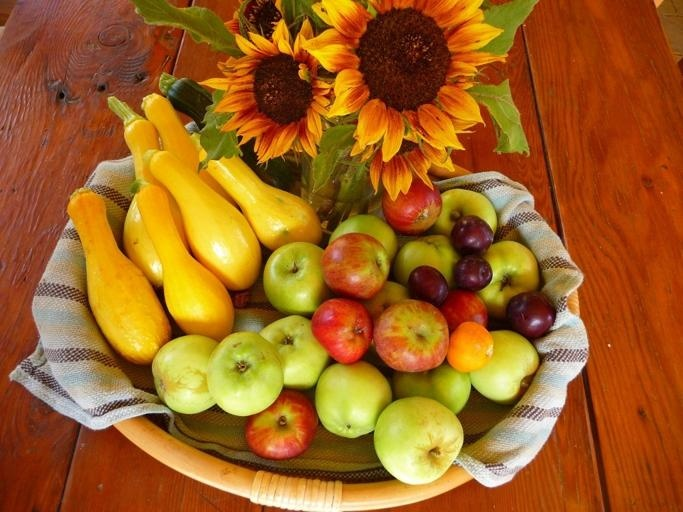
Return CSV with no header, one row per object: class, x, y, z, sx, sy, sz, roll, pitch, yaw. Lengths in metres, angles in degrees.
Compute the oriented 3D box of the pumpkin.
pumpkin,-0.346,0.004,1.432,0.505,0.172,0.560,-24,83,-10
